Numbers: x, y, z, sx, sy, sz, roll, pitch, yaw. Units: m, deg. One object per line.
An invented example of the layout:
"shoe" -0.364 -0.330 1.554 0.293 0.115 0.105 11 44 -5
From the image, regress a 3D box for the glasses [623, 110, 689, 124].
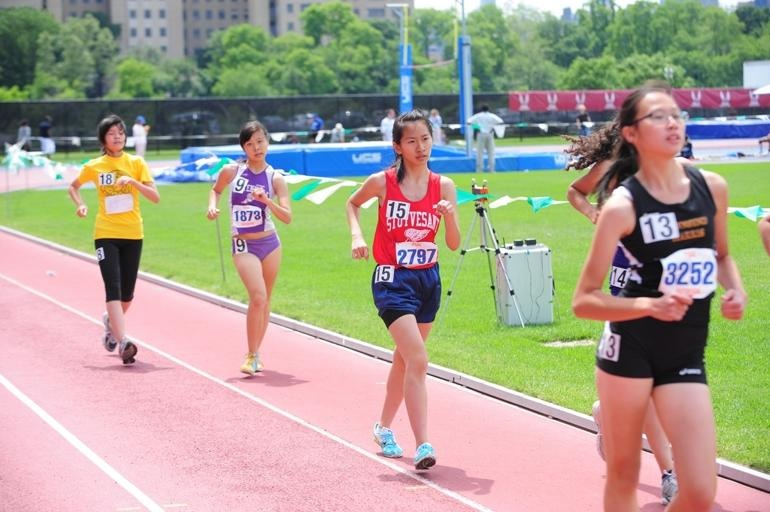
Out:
"glasses" 1.474 -0.746 3.891 0.143 0.039 0.140 -2 -7 -26

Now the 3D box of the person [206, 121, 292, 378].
"person" -1.437 -0.080 7.845 0.727 2.753 0.921 -4 9 -23

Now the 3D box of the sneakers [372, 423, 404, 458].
"sneakers" 0.019 1.494 5.861 0.162 0.169 0.422 -4 13 -24

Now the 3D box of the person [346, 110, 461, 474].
"person" 0.162 0.280 5.549 0.893 2.786 0.839 -1 9 -3

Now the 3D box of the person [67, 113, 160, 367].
"person" -3.170 -0.236 8.432 0.935 2.857 1.449 -4 9 -22

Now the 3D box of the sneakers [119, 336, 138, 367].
"sneakers" -2.888 1.077 8.098 0.167 0.182 0.409 -21 -24 -28

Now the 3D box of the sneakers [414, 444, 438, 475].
"sneakers" 0.296 1.522 5.443 0.128 0.127 0.273 3 -27 -10
